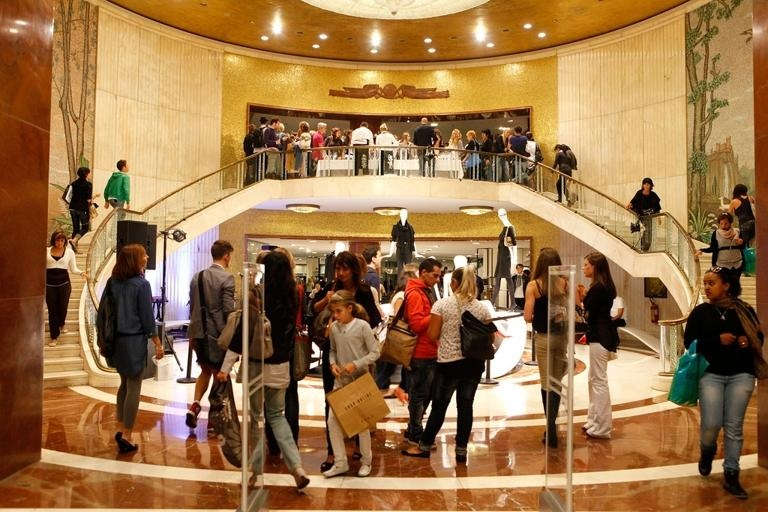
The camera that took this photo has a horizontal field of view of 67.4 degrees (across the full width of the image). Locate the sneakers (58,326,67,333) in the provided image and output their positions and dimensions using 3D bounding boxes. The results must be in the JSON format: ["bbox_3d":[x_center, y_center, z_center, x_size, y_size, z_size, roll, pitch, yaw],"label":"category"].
[{"bbox_3d":[-5.413,1.243,9.739,0.068,0.086,0.201,1,5,-4],"label":"sneakers"}]

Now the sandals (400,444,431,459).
[{"bbox_3d":[0.358,2.203,6.522,0.371,0.151,0.139,6,-7,8],"label":"sandals"}]

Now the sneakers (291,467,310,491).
[{"bbox_3d":[-0.839,2.191,5.700,0.177,0.259,0.213,0,4,-8],"label":"sneakers"}]

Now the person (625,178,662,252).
[{"bbox_3d":[5.995,-0.946,13.306,0.612,1.635,1.016,1,4,-4],"label":"person"}]

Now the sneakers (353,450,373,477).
[{"bbox_3d":[-0.236,2.210,6.133,0.151,0.194,0.453,0,-15,4],"label":"sneakers"}]

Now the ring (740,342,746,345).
[{"bbox_3d":[3.556,0.874,5.755,0.030,0.031,0.010,11,4,30],"label":"ring"}]

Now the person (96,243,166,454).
[{"bbox_3d":[-2.862,1.041,6.497,0.724,2.323,0.383,2,3,13],"label":"person"}]

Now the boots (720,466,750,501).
[{"bbox_3d":[3.516,2.261,5.739,0.132,0.279,0.286,3,-7,-21],"label":"boots"}]

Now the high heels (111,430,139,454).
[{"bbox_3d":[-2.924,2.094,6.503,0.145,0.123,0.298,7,-35,17],"label":"high heels"}]

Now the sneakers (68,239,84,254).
[{"bbox_3d":[-6.142,-0.178,11.482,0.116,0.279,0.086,-22,38,-8],"label":"sneakers"}]

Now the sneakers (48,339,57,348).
[{"bbox_3d":[-5.424,1.430,9.432,0.107,0.080,0.297,1,-3,-18],"label":"sneakers"}]

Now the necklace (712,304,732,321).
[{"bbox_3d":[3.415,0.580,5.867,0.107,0.151,0.078,0,7,25],"label":"necklace"}]

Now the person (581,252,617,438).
[{"bbox_3d":[2.563,1.099,6.945,0.420,2.243,0.355,2,3,15],"label":"person"}]

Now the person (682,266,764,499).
[{"bbox_3d":[3.451,1.235,5.904,0.732,2.211,0.479,3,4,36],"label":"person"}]

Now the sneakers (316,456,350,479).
[{"bbox_3d":[-0.526,2.195,5.980,0.131,0.149,0.366,-5,-8,40],"label":"sneakers"}]

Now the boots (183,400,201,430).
[{"bbox_3d":[-2.379,1.995,7.044,0.152,0.465,0.199,5,29,-2],"label":"boots"}]

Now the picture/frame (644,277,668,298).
[{"bbox_3d":[7.575,0.914,16.164,0.247,0.578,0.756,0,4,-18],"label":"picture/frame"}]

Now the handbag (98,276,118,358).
[{"bbox_3d":[-3.107,0.750,6.454,0.183,0.972,0.297,-1,4,-27],"label":"handbag"}]

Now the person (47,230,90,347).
[{"bbox_3d":[-5.362,0.516,9.542,0.390,1.847,0.409,-1,4,-31],"label":"person"}]

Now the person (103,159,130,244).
[{"bbox_3d":[-5.768,-1.452,12.437,0.492,1.314,1.972,-1,5,-26],"label":"person"}]

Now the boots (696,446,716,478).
[{"bbox_3d":[3.400,2.193,6.128,0.112,0.349,0.241,5,-2,26],"label":"boots"}]
